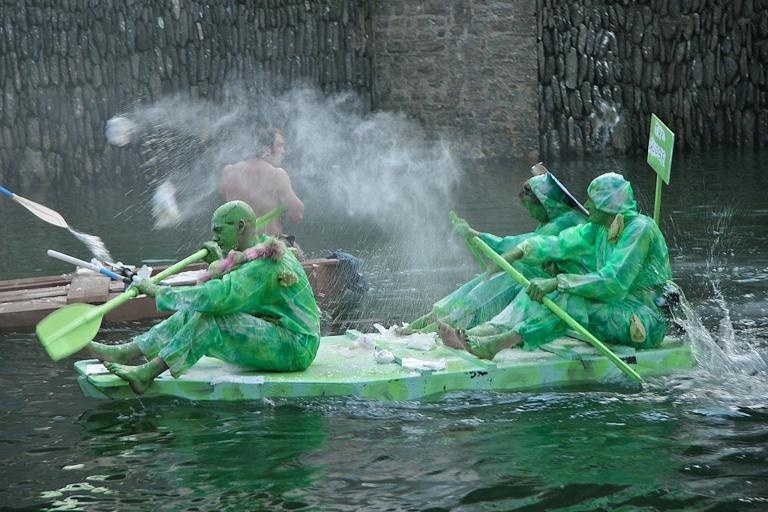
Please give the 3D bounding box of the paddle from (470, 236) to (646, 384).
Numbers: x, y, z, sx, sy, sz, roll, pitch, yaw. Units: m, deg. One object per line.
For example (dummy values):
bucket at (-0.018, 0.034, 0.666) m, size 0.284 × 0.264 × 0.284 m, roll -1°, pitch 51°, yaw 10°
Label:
paddle at (1.720, 0.550, 10.962) m, size 2.145 × 0.207 × 0.103 m, roll 37°, pitch 45°, yaw 11°

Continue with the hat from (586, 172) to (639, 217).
hat at (2.142, -0.583, 11.090) m, size 0.560 × 0.404 × 0.376 m, roll 3°, pitch 18°, yaw -8°

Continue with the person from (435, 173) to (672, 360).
person at (1.658, 0.128, 11.073) m, size 2.381 × 1.500 × 1.082 m, roll -7°, pitch 14°, yaw -13°

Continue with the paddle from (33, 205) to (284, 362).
paddle at (-2.288, 0.329, 11.763) m, size 3.318 × 0.140 × 0.562 m, roll -22°, pitch 41°, yaw -15°
